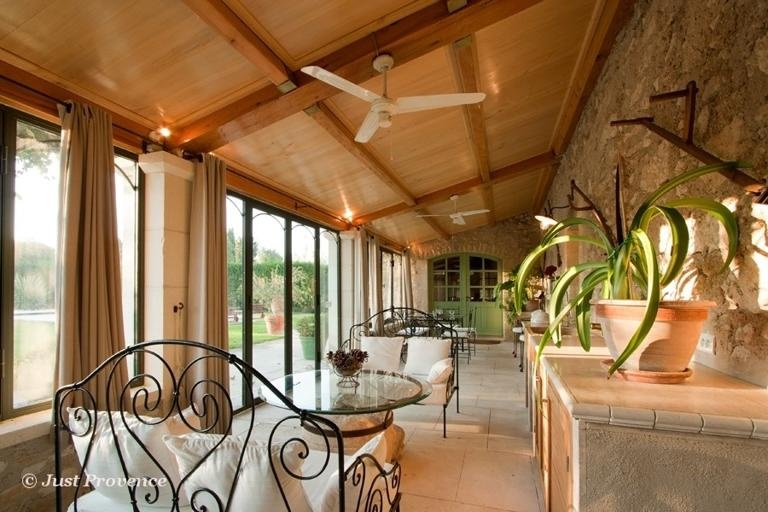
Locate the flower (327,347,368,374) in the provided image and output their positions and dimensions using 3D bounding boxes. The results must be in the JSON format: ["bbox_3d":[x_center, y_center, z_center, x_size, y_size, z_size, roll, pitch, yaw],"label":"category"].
[{"bbox_3d":[-0.315,0.884,4.131,0.244,0.147,0.236,2,-11,-6],"label":"flower"}]

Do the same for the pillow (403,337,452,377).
[{"bbox_3d":[0.441,1.023,4.901,0.420,0.289,0.143,-4,-20,22],"label":"pillow"}]

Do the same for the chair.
[{"bbox_3d":[0.858,1.241,8.375,1.371,0.905,1.419,-2,-19,14],"label":"chair"}]

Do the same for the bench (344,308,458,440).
[{"bbox_3d":[0.159,1.200,4.971,1.108,0.855,0.595,-4,-12,22],"label":"bench"}]

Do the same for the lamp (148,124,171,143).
[{"bbox_3d":[-1.926,-1.041,4.162,0.167,0.137,0.075,1,4,-26],"label":"lamp"}]

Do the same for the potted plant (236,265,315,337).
[{"bbox_3d":[-1.267,0.546,6.030,0.859,1.045,0.948,-8,-13,39],"label":"potted plant"}]

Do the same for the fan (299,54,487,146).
[{"bbox_3d":[0.056,-1.270,3.599,0.897,0.382,0.838,-8,-20,13],"label":"fan"}]

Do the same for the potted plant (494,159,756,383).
[{"bbox_3d":[1.454,0.089,2.929,1.150,1.206,1.276,9,-9,-36],"label":"potted plant"}]

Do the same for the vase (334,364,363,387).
[{"bbox_3d":[-0.304,0.997,4.093,0.195,0.138,0.195,1,-5,-2],"label":"vase"}]

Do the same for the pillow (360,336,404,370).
[{"bbox_3d":[-0.039,0.980,4.914,0.421,0.379,0.141,1,-28,5],"label":"pillow"}]

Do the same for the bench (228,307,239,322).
[{"bbox_3d":[-1.581,0.614,5.075,0.093,0.155,0.168,1,-4,13],"label":"bench"}]

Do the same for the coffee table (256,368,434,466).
[{"bbox_3d":[-0.260,1.153,4.052,1.240,0.408,1.196,0,-7,-3],"label":"coffee table"}]

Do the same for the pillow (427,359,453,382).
[{"bbox_3d":[0.507,1.058,4.482,0.213,0.197,0.251,3,4,6],"label":"pillow"}]

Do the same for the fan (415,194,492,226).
[{"bbox_3d":[1.237,-0.706,8.139,0.836,0.245,0.809,5,-8,-16],"label":"fan"}]
